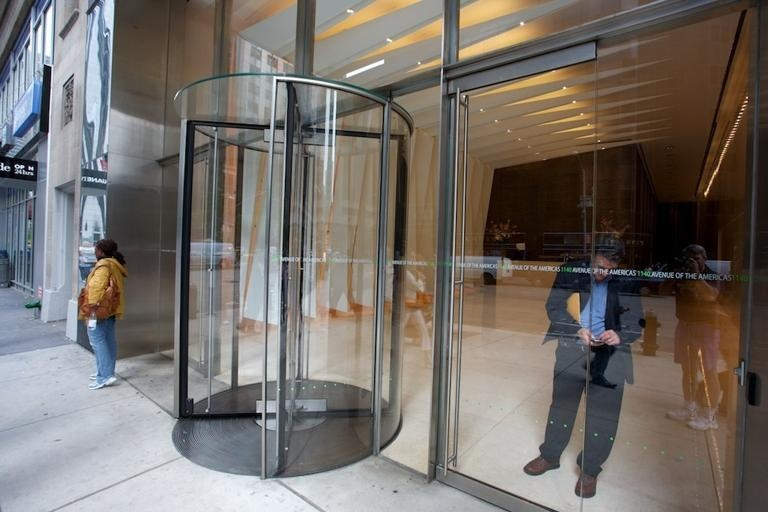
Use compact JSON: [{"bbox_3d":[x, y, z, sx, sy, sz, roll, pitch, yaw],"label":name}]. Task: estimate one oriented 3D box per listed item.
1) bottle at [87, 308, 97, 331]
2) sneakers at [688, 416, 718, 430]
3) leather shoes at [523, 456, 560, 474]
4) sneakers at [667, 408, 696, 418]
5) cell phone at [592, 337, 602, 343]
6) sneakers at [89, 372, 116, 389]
[{"bbox_3d":[-3.713,0.825,6.534,0.080,0.263,0.065,1,3,-14],"label":"bottle"},{"bbox_3d":[2.622,1.377,4.208,0.157,0.053,0.100,-1,14,26],"label":"sneakers"},{"bbox_3d":[1.468,1.937,4.747,0.292,0.120,0.136,-1,2,-2],"label":"leather shoes"},{"bbox_3d":[2.476,1.301,4.253,0.186,0.083,0.070,-1,6,25],"label":"sneakers"},{"bbox_3d":[1.890,0.753,4.538,0.075,0.038,0.006,3,3,23],"label":"cell phone"},{"bbox_3d":[-3.645,1.652,6.729,0.403,0.192,0.152,4,2,-39],"label":"sneakers"}]
